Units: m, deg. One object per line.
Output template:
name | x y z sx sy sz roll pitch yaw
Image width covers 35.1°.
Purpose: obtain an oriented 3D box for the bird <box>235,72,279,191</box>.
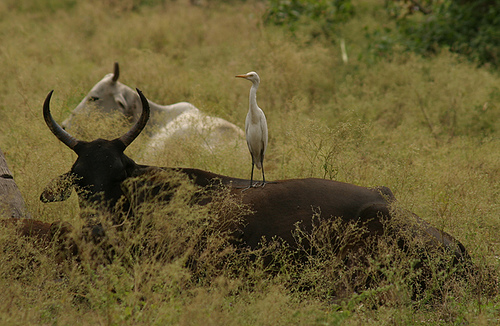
bird | 0.074 -0.573 12.853 0.605 0.745 1.732 2 90 -10
